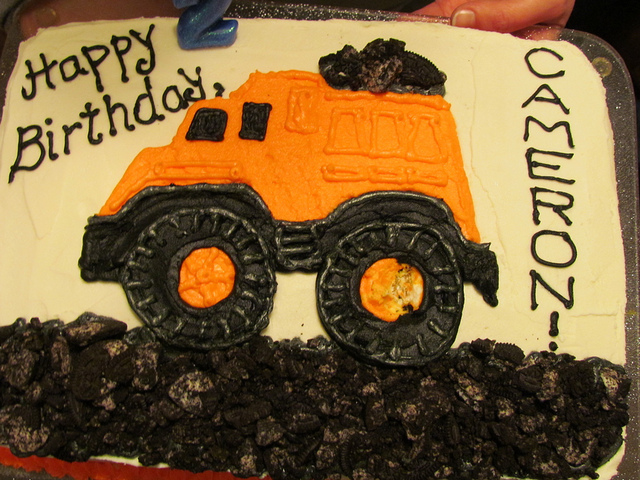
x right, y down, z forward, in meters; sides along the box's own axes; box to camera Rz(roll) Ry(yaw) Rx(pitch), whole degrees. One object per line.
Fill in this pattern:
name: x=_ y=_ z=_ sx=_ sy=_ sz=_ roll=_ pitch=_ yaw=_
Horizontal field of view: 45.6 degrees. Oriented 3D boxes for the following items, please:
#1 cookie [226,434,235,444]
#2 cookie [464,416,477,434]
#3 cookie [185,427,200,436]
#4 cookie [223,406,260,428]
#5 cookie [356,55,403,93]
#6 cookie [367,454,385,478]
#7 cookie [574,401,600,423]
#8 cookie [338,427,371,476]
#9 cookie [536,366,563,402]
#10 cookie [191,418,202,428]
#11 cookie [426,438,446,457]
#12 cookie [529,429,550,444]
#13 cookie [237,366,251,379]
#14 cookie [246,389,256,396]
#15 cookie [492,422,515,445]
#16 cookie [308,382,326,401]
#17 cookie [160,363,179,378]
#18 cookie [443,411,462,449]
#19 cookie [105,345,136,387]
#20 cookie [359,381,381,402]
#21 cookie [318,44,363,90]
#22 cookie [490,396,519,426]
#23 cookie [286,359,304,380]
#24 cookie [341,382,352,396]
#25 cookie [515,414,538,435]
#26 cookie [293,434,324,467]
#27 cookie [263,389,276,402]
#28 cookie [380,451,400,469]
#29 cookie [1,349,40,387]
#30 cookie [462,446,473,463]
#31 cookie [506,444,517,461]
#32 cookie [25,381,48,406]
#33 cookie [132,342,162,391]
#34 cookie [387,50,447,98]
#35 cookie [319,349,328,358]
cookie: x=-0.632 y=1.405 z=5.354 sx=0.044 sy=0.051 sz=0.016 roll=4 pitch=-13 yaw=13
cookie: x=1.071 y=1.317 z=5.407 sx=0.072 sy=0.112 sz=0.024 roll=2 pitch=-2 yaw=-4
cookie: x=-0.902 y=1.354 z=5.363 sx=0.101 sy=0.052 sz=0.019 roll=3 pitch=-1 yaw=-10
cookie: x=-0.554 y=1.253 z=5.363 sx=0.243 sy=0.129 sz=0.073 roll=3 pitch=-1 yaw=-7
cookie: x=0.433 y=-1.251 z=5.607 sx=0.253 sy=0.238 sz=0.381 roll=-13 pitch=28 yaw=-24
cookie: x=0.390 y=1.595 z=5.364 sx=0.097 sy=0.146 sz=0.037 roll=1 pitch=-14 yaw=5
cookie: x=1.915 y=1.236 z=5.448 sx=0.173 sy=0.094 sz=0.025 roll=3 pitch=-1 yaw=-7
cookie: x=0.244 y=1.496 z=5.380 sx=0.232 sy=0.270 sz=0.056 roll=3 pitch=-1 yaw=-21
cookie: x=1.635 y=1.040 z=5.458 sx=0.152 sy=0.226 sz=0.057 roll=7 pitch=-7 yaw=-2
cookie: x=-0.865 y=1.290 z=5.358 sx=0.065 sy=0.061 sz=0.018 roll=3 pitch=-1 yaw=-20
cookie: x=0.827 y=1.485 z=5.408 sx=0.099 sy=0.112 sz=0.028 roll=14 pitch=-16 yaw=-5
cookie: x=1.579 y=1.401 z=5.464 sx=0.104 sy=0.120 sz=0.029 roll=-8 pitch=-6 yaw=0
cookie: x=-0.545 y=0.944 z=5.401 sx=0.054 sy=0.093 sz=0.021 roll=-34 pitch=5 yaw=-37
cookie: x=-0.490 y=1.087 z=5.409 sx=0.062 sy=0.037 sz=0.024 roll=3 pitch=-1 yaw=15
cookie: x=1.298 y=1.368 z=5.377 sx=0.122 sy=0.143 sz=0.028 roll=2 pitch=-8 yaw=-1
cookie: x=-0.023 y=1.076 z=5.412 sx=0.121 sy=0.105 sz=0.045 roll=3 pitch=-1 yaw=4
cookie: x=-1.068 y=0.925 z=5.391 sx=0.099 sy=0.111 sz=0.026 roll=-7 pitch=-13 yaw=9
cookie: x=0.940 y=1.351 z=5.406 sx=0.177 sy=0.200 sz=0.050 roll=19 pitch=-13 yaw=-4
cookie: x=-1.410 y=0.890 z=5.354 sx=0.194 sy=0.271 sz=0.085 roll=3 pitch=-1 yaw=-22
cookie: x=0.354 y=1.079 z=5.412 sx=0.143 sy=0.114 sz=0.058 roll=3 pitch=-1 yaw=28
cookie: x=0.156 y=-1.279 z=5.594 sx=0.282 sy=0.324 sz=0.111 roll=-27 pitch=8 yaw=15
cookie: x=1.315 y=1.206 z=5.341 sx=0.182 sy=0.198 sz=0.046 roll=19 pitch=-14 yaw=-4
cookie: x=-0.183 y=0.917 z=5.405 sx=0.125 sy=0.128 sz=0.031 roll=26 pitch=-17 yaw=-7
cookie: x=0.193 y=1.067 z=5.396 sx=0.074 sy=0.079 sz=0.020 roll=44 pitch=6 yaw=10
cookie: x=1.460 y=1.305 z=5.395 sx=0.136 sy=0.151 sz=0.035 roll=13 pitch=-8 yaw=0
cookie: x=-0.075 y=1.498 z=5.368 sx=0.123 sy=0.257 sz=0.060 roll=27 pitch=-13 yaw=37
cookie: x=-0.360 y=1.103 z=5.379 sx=0.076 sy=0.081 sz=0.019 roll=24 pitch=-13 yaw=14
cookie: x=0.497 y=1.566 z=5.396 sx=0.080 sy=0.127 sz=0.029 roll=-32 pitch=-21 yaw=-28
cookie: x=-2.120 y=0.901 z=5.326 sx=0.218 sy=0.254 sz=0.061 roll=3 pitch=-17 yaw=4
cookie: x=1.049 y=1.520 z=5.391 sx=0.075 sy=0.081 sz=0.038 roll=3 pitch=-1 yaw=3
cookie: x=1.365 y=1.516 z=5.409 sx=0.083 sy=0.075 sz=0.014 roll=3 pitch=-1 yaw=-19
cookie: x=-2.005 y=1.088 z=5.367 sx=0.145 sy=0.172 sz=0.060 roll=3 pitch=-1 yaw=11
cookie: x=-1.229 y=0.892 z=5.390 sx=0.201 sy=0.315 sz=0.115 roll=3 pitch=-1 yaw=-14
cookie: x=0.720 y=-1.203 z=5.586 sx=0.353 sy=0.321 sz=0.117 roll=13 pitch=-3 yaw=-4
cookie: x=0.023 y=0.811 z=5.465 sx=0.041 sy=0.046 sz=0.011 roll=17 pitch=-19 yaw=-2
